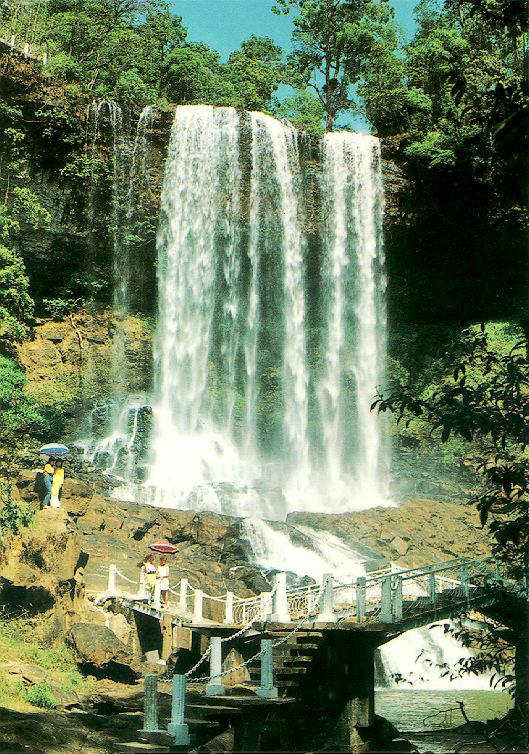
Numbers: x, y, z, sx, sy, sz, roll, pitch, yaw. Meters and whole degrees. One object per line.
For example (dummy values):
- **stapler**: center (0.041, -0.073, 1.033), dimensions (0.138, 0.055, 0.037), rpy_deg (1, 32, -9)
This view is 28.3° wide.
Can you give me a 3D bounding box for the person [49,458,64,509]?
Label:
- **person**: center (-4.180, 2.194, 21.156), dimensions (0.245, 0.893, 0.950), rpy_deg (1, -2, -12)
